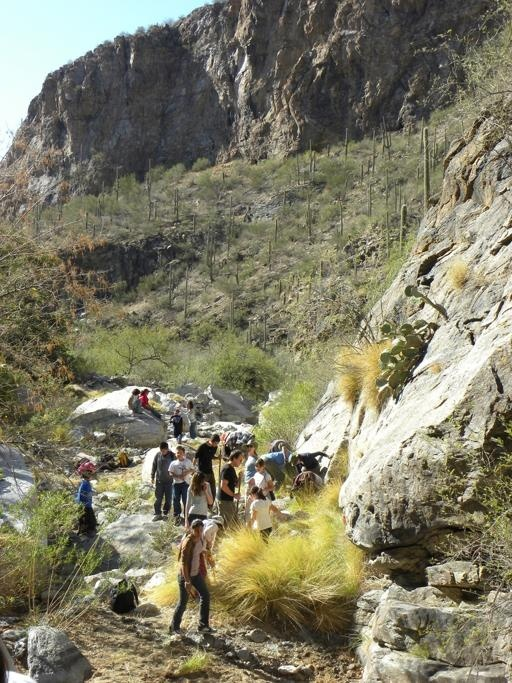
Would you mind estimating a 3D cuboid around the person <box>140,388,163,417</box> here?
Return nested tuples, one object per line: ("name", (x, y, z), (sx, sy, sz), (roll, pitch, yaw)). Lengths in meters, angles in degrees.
("person", (-2.515, 1.497, 21.448), (0.400, 0.765, 0.307), (-20, 34, -39))

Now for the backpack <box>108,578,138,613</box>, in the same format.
("backpack", (-1.352, 2.632, 9.165), (0.184, 0.309, 0.295), (1, -12, -1))

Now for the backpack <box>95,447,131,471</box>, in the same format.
("backpack", (-2.680, 2.277, 16.931), (0.729, 0.456, 0.727), (3, -16, -18))

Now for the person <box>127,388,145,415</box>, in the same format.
("person", (-2.614, 1.302, 19.408), (0.309, 0.635, 0.955), (-1, -15, -4))

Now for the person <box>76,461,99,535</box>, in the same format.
("person", (-2.162, 2.005, 11.452), (0.270, 0.917, 0.900), (1, -15, -11))

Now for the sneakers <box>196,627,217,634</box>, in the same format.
("sneakers", (-0.467, 2.740, 8.465), (0.156, 0.060, 0.075), (0, -15, -8))
